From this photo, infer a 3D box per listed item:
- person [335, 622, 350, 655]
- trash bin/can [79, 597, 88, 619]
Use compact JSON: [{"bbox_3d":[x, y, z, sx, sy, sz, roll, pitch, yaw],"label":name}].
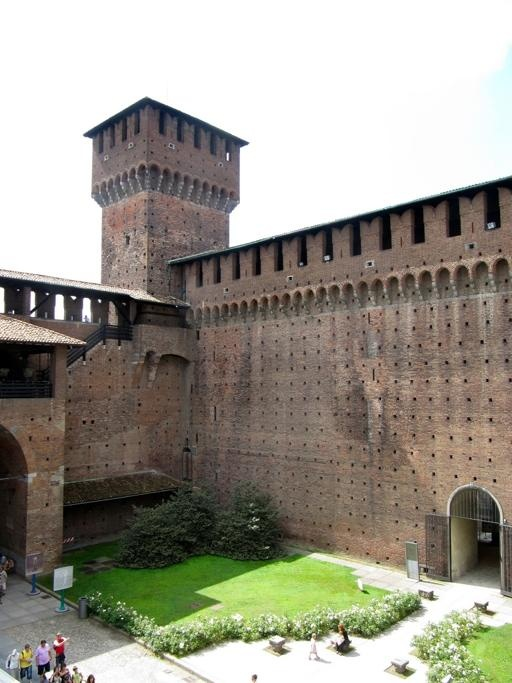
[{"bbox_3d":[2.193,7.632,17.724,0.370,0.737,0.771,-3,-11,14],"label":"person"},{"bbox_3d":[-5.003,7.784,20.046,0.251,0.558,0.306,2,-12,-13],"label":"trash bin/can"}]
